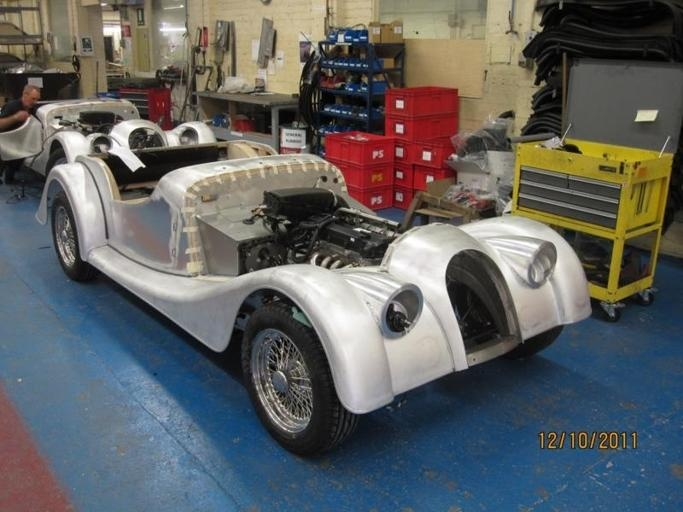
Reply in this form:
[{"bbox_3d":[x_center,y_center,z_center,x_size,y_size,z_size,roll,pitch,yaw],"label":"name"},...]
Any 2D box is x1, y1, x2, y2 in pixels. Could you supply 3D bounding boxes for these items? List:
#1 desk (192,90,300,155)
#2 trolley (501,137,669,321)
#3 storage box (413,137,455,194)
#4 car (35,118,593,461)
[{"bbox_3d":[-1.554,-2.498,9.743,0.579,0.815,1.818,-11,8,-38],"label":"desk"},{"bbox_3d":[2.321,-0.315,4.501,0.801,1.335,1.073,-11,17,-19],"label":"trolley"},{"bbox_3d":[1.251,-1.226,6.547,0.539,0.796,0.733,-10,16,-33],"label":"storage box"},{"bbox_3d":[-0.749,-0.172,3.732,2.071,1.332,3.997,-19,30,-40],"label":"car"}]
